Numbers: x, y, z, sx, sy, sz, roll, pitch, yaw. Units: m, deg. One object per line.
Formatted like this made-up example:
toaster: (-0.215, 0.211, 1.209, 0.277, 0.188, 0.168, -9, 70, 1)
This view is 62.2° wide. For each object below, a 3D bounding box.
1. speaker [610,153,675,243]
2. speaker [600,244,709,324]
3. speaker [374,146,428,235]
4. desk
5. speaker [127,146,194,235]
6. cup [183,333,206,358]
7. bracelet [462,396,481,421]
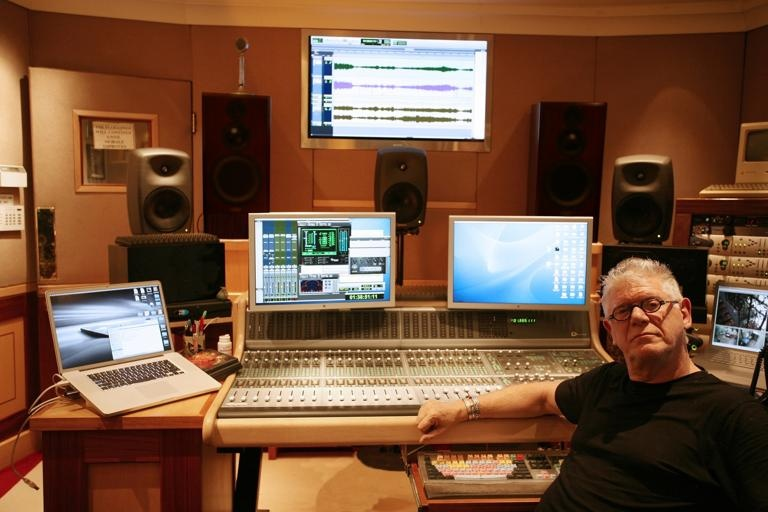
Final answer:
speaker: (1.582, -0.348, 3.922, 0.343, 0.541, 0.175, -3, 7, -8)
speaker: (1.339, 0.142, 3.131, 0.464, 0.390, 0.149, 0, -2, 10)
speaker: (0.124, -0.494, 4.745, 0.387, 0.648, 0.183, -2, 7, -2)
desk: (0.181, 0.872, 3.674, 2.696, 1.702, 1.277, -1, 5, -3)
speaker: (-1.354, -0.398, 3.854, 0.376, 0.511, 0.163, -4, 7, -21)
cup: (-1.003, 0.470, 3.346, 0.108, 0.111, 0.106, 0, 3, 0)
bracelet: (0.417, 0.730, 3.001, 0.068, 0.097, 0.103, -2, 2, 0)
